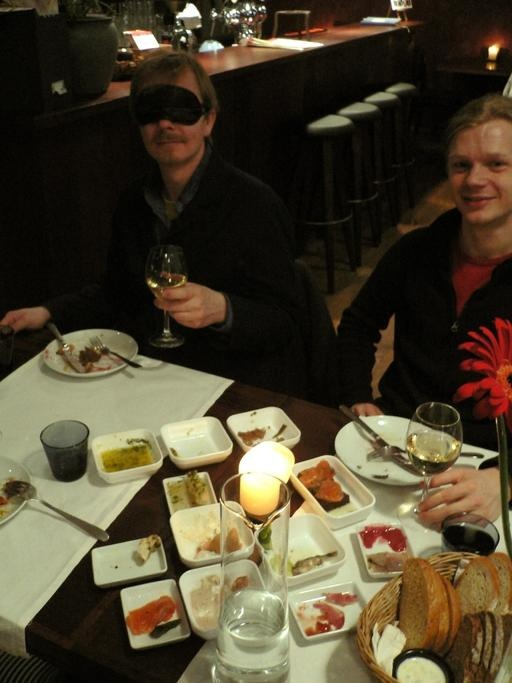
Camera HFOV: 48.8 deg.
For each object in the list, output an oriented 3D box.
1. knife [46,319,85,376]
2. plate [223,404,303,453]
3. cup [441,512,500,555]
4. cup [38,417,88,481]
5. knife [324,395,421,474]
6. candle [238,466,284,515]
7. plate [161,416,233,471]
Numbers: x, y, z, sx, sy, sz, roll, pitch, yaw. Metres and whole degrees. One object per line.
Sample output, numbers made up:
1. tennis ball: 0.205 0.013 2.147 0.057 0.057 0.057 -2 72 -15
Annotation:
1. knife: -0.487 0.005 1.420 0.196 0.015 0.028 -29 14 35
2. plate: 0.016 0.173 1.127 0.100 0.028 0.094 -10 34 -22
3. cup: 0.308 0.272 0.795 0.055 0.050 0.066 3 19 10
4. cup: -0.330 0.195 0.984 0.078 0.077 0.080 1 25 0
5. knife: 0.235 0.175 1.129 0.048 0.038 0.262 -27 25 -9
6. candle: 0.001 0.196 0.715 0.055 0.048 0.052 8 -13 -12
7. plate: -0.115 0.196 1.078 0.135 0.031 0.128 5 27 -1
